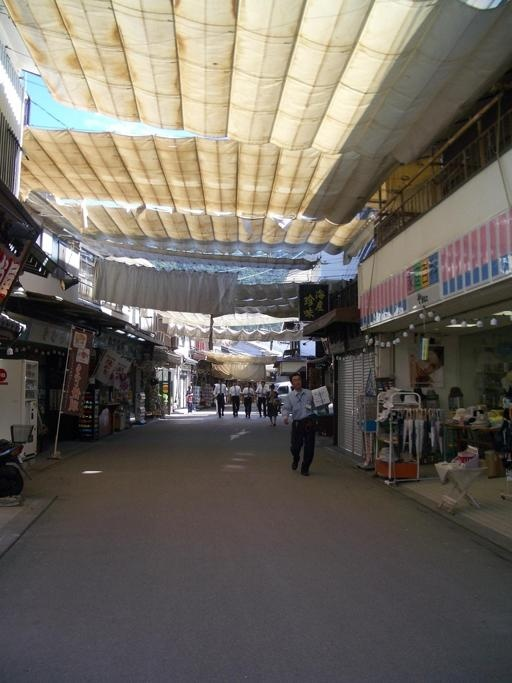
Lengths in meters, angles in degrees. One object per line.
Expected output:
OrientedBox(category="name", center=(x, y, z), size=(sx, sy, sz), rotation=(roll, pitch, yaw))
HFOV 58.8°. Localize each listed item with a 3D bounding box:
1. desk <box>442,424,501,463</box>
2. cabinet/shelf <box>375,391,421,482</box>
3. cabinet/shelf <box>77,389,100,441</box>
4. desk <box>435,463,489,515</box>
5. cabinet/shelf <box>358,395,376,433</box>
OrientedBox(category="desk", center=(4.597, 2.136, 9.571), size=(0.577, 0.649, 1.068), rotation=(3, -6, -4))
OrientedBox(category="cabinet/shelf", center=(2.912, 1.782, 9.207), size=(0.748, 1.799, 0.970), rotation=(1, 3, 2))
OrientedBox(category="cabinet/shelf", center=(-5.605, 2.383, 15.194), size=(0.641, 1.770, 0.791), rotation=(5, -10, -26))
OrientedBox(category="desk", center=(2.923, 2.070, 6.492), size=(0.614, 0.617, 0.608), rotation=(-1, -4, 26))
OrientedBox(category="cabinet/shelf", center=(2.558, 1.678, 10.418), size=(0.381, 0.862, 0.931), rotation=(-1, -9, 12))
